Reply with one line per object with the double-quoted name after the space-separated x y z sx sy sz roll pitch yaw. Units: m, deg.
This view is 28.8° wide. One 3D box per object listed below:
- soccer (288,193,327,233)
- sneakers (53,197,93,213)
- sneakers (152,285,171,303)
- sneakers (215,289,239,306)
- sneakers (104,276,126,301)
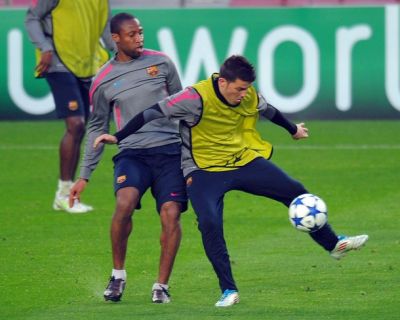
0.952 0.442 6.919 0.381 0.323 0.335 -13 -1 -1 "soccer"
-1.473 0.494 8.972 0.532 0.208 0.177 1 5 16 "sneakers"
-0.326 1.133 6.696 0.155 0.133 0.144 -1 14 -3 "sneakers"
0.250 1.155 6.620 0.217 0.092 0.102 -4 6 -38 "sneakers"
-0.739 1.102 6.760 0.166 0.176 0.179 0 14 5 "sneakers"
